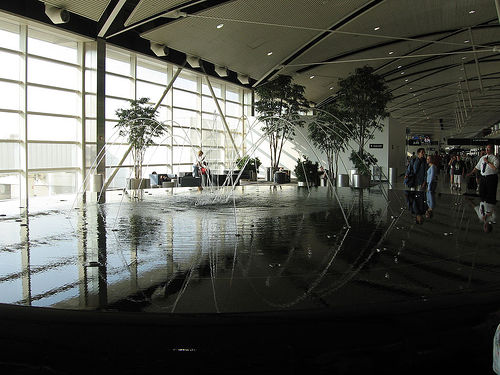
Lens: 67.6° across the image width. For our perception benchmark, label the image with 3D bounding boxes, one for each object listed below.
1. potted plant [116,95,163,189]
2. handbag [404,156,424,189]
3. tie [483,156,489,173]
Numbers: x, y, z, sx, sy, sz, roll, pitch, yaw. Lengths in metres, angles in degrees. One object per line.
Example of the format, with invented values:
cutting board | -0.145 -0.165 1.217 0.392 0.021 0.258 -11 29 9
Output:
potted plant | -3.601 -1.648 12.244 1.470 2.731 2.657 -1 6 -13
handbag | 3.724 -0.372 8.549 0.390 0.682 0.273 0 5 -21
tie | 4.694 -0.470 7.381 0.095 0.312 0.248 3 7 32
